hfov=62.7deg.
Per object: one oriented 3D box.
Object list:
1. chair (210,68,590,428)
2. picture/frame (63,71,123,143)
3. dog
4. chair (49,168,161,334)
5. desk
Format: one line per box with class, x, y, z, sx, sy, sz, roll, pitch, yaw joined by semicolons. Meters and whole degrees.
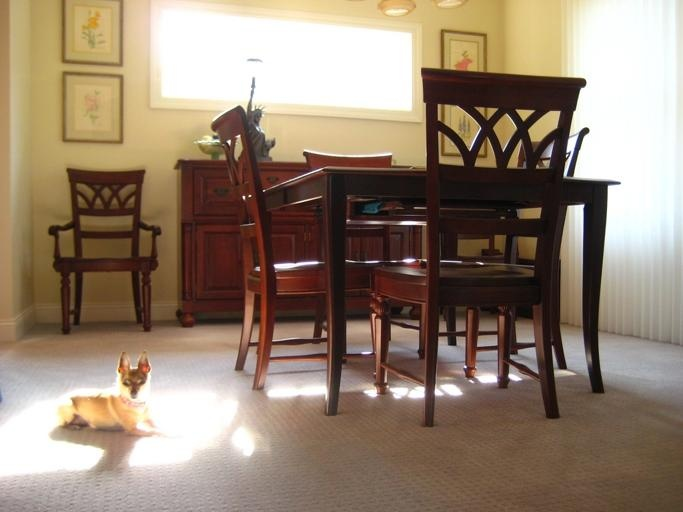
chair;0.152;-0.076;2.810;1.291;1.395;1.444;-1;4;-15
picture/frame;-2.069;-1.228;4.590;0.588;0.748;0.028;-1;7;-12
dog;-0.900;0.521;2.171;0.434;0.334;0.208;3;9;23
chair;-1.840;-0.063;4.374;0.763;1.239;0.851;-2;6;-23
desk;0.426;0.101;2.789;1.365;1.026;1.140;0;0;-12
